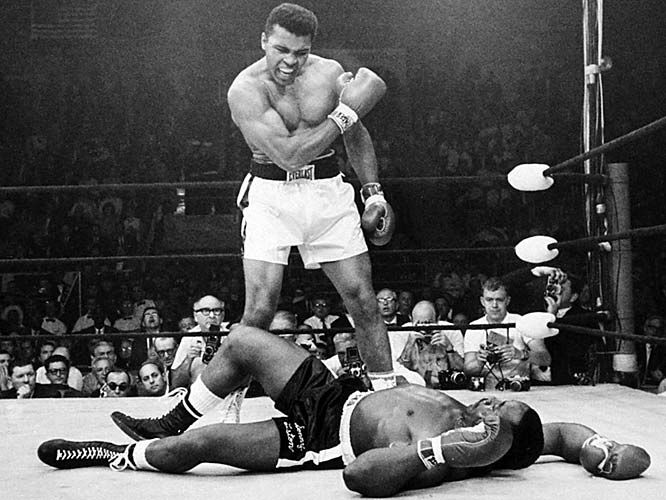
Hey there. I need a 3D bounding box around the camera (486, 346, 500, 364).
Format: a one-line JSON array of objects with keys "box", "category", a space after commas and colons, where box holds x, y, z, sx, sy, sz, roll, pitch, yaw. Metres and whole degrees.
[{"box": [0.807, 0.530, 4.239, 0.062, 0.081, 0.030, 1, -5, 4], "category": "camera"}]

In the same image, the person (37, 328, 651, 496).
[{"box": [-0.015, 0.399, 2.880, 1.988, 0.427, 0.769, -2, 3, 23], "category": "person"}]

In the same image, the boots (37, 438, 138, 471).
[{"box": [-0.855, 0.724, 3.031, 0.388, 0.122, 0.116, 5, -24, -8], "category": "boots"}]

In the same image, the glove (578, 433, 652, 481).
[{"box": [0.930, 0.684, 2.787, 0.181, 0.090, 0.137, 0, -4, 20], "category": "glove"}]

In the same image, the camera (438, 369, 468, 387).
[{"box": [0.600, 0.630, 4.181, 0.135, 0.085, 0.096, 4, -10, -24], "category": "camera"}]

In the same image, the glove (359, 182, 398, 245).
[{"box": [0.185, -0.171, 3.419, 0.167, 0.288, 0.131, -15, -44, 3], "category": "glove"}]

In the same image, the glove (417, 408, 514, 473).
[{"box": [0.418, 0.616, 2.645, 0.207, 0.099, 0.215, -14, -6, 9], "category": "glove"}]
